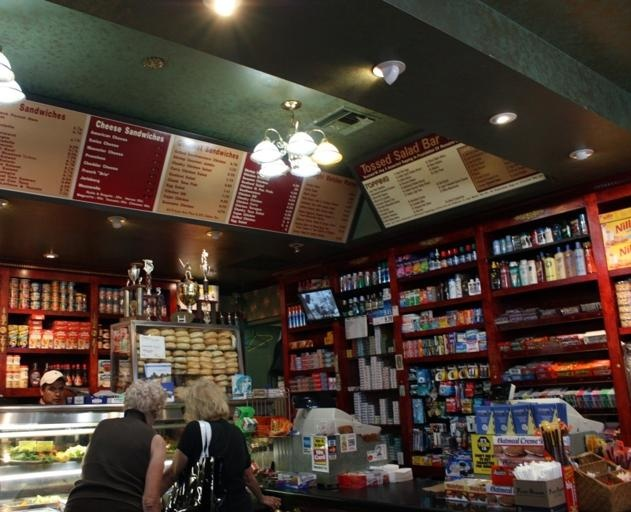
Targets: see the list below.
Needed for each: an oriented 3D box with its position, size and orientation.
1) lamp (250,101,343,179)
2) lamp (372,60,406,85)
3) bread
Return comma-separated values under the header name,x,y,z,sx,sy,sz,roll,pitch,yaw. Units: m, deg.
name,x,y,z,sx,sy,sz,roll,pitch,yaw
lamp,-0.179,-0.987,4.007,0.887,0.495,0.756,-4,-15,8
lamp,0.426,-1.072,2.839,0.170,0.044,0.134,5,-24,-9
bread,-1.294,0.941,4.423,0.850,0.527,0.256,5,-14,-32
